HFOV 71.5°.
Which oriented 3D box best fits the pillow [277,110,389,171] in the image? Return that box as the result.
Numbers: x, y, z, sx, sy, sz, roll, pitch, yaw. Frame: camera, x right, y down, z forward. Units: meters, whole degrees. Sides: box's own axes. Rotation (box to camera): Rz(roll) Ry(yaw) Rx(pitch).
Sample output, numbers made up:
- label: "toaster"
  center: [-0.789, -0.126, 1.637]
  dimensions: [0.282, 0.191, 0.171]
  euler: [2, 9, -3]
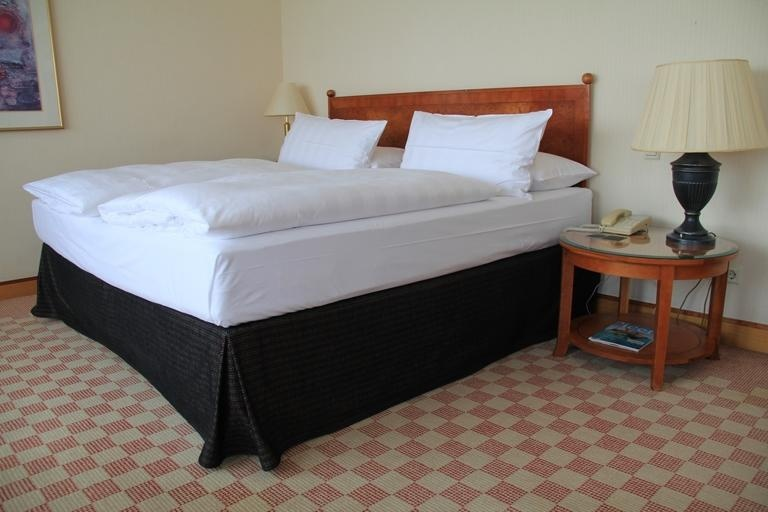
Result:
- label: "pillow"
  center: [-0.178, -0.845, 4.092]
  dimensions: [1.213, 0.447, 0.505]
  euler: [5, 5, 29]

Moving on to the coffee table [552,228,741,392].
- label: "coffee table"
  center: [1.437, 0.261, 2.998]
  dimensions: [0.859, 0.607, 0.852]
  euler: [6, 12, 35]

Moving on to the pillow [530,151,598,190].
- label: "pillow"
  center: [1.061, -0.508, 3.270]
  dimensions: [0.314, 0.087, 0.306]
  euler: [-13, 16, -20]

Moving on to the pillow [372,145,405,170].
- label: "pillow"
  center: [0.032, -0.685, 3.777]
  dimensions: [0.217, 0.184, 0.092]
  euler: [5, -8, -2]

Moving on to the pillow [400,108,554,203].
- label: "pillow"
  center: [0.566, -0.570, 3.122]
  dimensions: [0.741, 0.276, 0.307]
  euler: [10, 45, 39]

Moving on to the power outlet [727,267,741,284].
- label: "power outlet"
  center: [1.969, 0.119, 3.008]
  dimensions: [0.101, 0.082, 0.023]
  euler: [10, 8, 29]
